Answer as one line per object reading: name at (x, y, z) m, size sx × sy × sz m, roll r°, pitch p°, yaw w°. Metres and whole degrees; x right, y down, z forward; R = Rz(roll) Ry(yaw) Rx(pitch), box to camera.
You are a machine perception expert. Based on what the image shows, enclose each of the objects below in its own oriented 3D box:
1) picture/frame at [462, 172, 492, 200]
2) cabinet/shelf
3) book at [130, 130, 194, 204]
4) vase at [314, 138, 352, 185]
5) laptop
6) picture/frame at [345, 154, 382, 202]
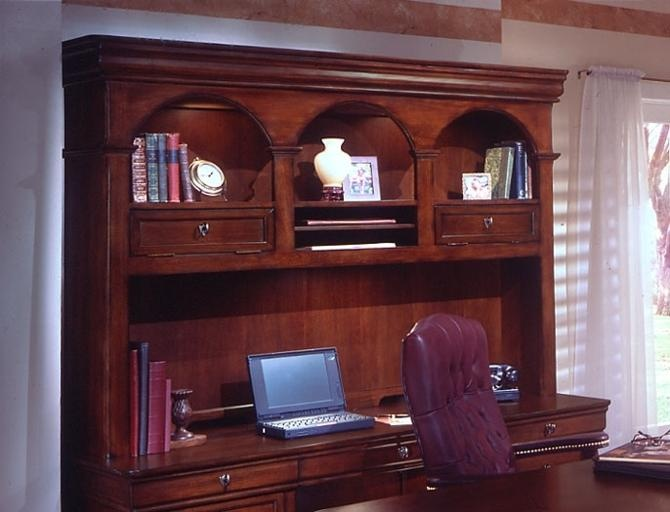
picture/frame at (0.786, -0.383, 3.314) m, size 0.153 × 0.156 × 0.150 m, roll 0°, pitch -4°, yaw -5°
cabinet/shelf at (0.055, 0.240, 3.053) m, size 2.443 × 2.307 × 0.553 m, roll -2°, pitch 0°, yaw -20°
book at (-0.820, -0.374, 2.710) m, size 0.289 × 0.396 × 0.282 m, roll 1°, pitch -2°, yaw -39°
vase at (-0.013, -0.455, 3.031) m, size 0.209 × 0.261 × 0.216 m, roll 4°, pitch -5°, yaw -22°
laptop at (-0.142, 0.535, 2.767) m, size 0.517 × 0.392 × 0.356 m, roll 2°, pitch -9°, yaw -36°
picture/frame at (0.139, -0.409, 3.082) m, size 0.253 × 0.302 × 0.030 m, roll 7°, pitch -14°, yaw -31°
